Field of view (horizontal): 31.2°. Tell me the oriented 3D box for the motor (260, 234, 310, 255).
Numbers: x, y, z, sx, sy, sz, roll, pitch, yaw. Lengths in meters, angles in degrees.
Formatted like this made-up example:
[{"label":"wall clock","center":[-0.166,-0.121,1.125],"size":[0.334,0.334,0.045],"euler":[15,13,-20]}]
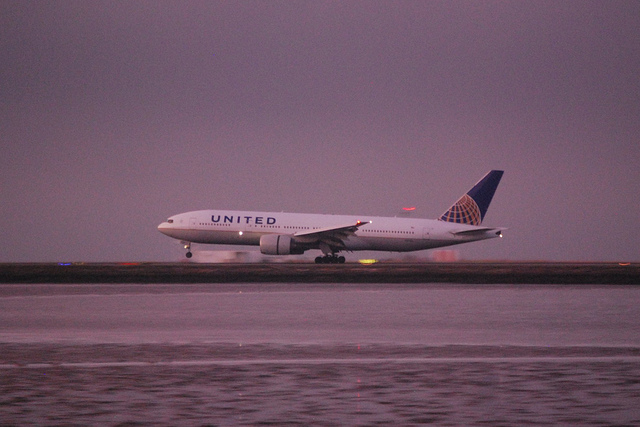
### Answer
[{"label":"motor","center":[-2.183,1.717,64.584],"size":[1.290,1.147,2.701],"euler":[-4,-9,41]}]
